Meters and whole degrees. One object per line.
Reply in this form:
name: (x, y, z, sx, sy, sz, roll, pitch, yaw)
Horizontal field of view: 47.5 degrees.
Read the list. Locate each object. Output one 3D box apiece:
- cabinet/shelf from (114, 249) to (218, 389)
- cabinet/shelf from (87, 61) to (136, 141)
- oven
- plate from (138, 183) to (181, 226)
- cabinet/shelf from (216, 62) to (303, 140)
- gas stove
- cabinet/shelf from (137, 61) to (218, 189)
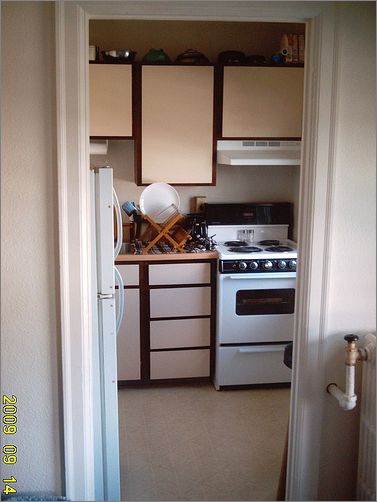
cabinet/shelf: (-0.138, 0.500, 3.236, 0.813, 0.917, 0.512, -1, -2, 6)
cabinet/shelf: (-0.486, -1.039, 2.987, 0.368, 0.503, 0.267, 5, 13, 13)
oven: (0.573, 0.509, 3.262, 0.730, 0.870, 0.684, -2, 8, -5)
plate: (-0.215, -0.349, 3.114, 0.285, 0.306, 0.132, -4, 9, -25)
cabinet/shelf: (0.506, -1.072, 3.132, 0.616, 0.495, 0.303, -2, 13, -6)
gas stove: (0.499, -0.018, 3.212, 0.700, 0.318, 0.674, 0, 9, 2)
cabinet/shelf: (-0.091, -0.979, 3.153, 0.585, 0.871, 0.493, 3, 32, 2)
